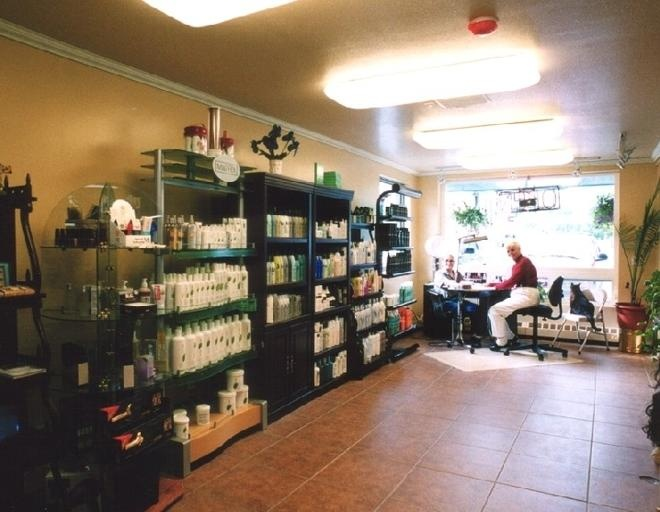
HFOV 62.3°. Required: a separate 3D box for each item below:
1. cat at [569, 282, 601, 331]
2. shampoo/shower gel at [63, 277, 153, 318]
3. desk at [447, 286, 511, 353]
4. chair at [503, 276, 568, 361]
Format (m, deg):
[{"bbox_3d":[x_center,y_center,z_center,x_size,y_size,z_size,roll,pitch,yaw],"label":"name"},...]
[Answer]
[{"bbox_3d":[3.830,0.751,8.251,0.358,0.643,0.530,3,6,26],"label":"cat"},{"bbox_3d":[-1.637,0.301,4.051,0.636,0.245,0.362,-3,7,-29],"label":"shampoo/shower gel"},{"bbox_3d":[2.271,0.983,8.830,1.022,1.038,0.953,3,-5,-39],"label":"desk"},{"bbox_3d":[3.160,0.903,8.268,0.844,1.225,0.921,2,-3,19],"label":"chair"}]
